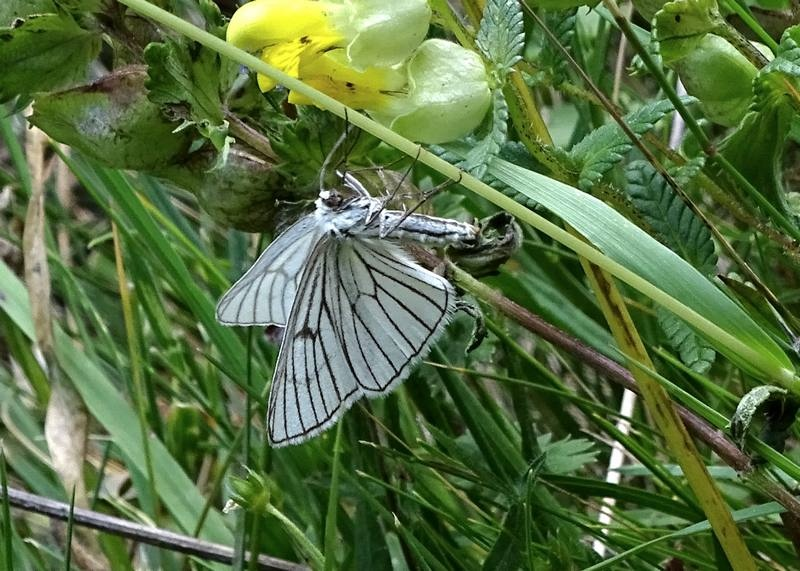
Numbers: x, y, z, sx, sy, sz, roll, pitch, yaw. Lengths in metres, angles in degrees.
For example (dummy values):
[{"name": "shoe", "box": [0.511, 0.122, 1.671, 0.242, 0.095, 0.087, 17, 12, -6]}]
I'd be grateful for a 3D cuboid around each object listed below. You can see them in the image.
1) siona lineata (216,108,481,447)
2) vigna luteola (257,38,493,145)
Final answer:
[{"name": "siona lineata", "box": [-0.084, 0.007, 1.605, 0.545, 0.296, 0.672, 5, 100, 5]}, {"name": "vigna luteola", "box": [0.007, -0.314, 1.316, 0.252, 0.180, 0.223, -1, 18, -4]}]
